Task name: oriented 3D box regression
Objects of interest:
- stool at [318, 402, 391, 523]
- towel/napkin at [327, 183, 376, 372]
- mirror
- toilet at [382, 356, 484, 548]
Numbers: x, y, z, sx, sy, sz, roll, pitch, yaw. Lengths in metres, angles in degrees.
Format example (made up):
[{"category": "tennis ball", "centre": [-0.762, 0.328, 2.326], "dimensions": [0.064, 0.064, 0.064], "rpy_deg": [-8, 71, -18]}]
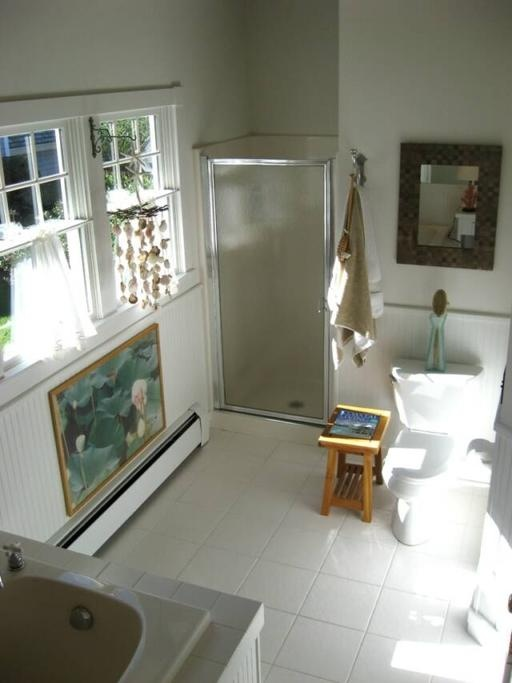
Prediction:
[{"category": "stool", "centre": [0.575, 0.712, 2.893], "dimensions": [0.351, 0.520, 0.450], "rpy_deg": [4, 15, 20]}, {"category": "towel/napkin", "centre": [0.550, -0.362, 2.820], "dimensions": [0.272, 1.121, 0.268], "rpy_deg": [2, 13, 13]}, {"category": "mirror", "centre": [1.055, -0.752, 2.726], "dimensions": [0.482, 0.018, 0.792], "rpy_deg": [6, 66, 18]}, {"category": "toilet", "centre": [0.905, 0.626, 2.694], "dimensions": [0.343, 0.804, 0.582], "rpy_deg": [3, 21, 28]}]
